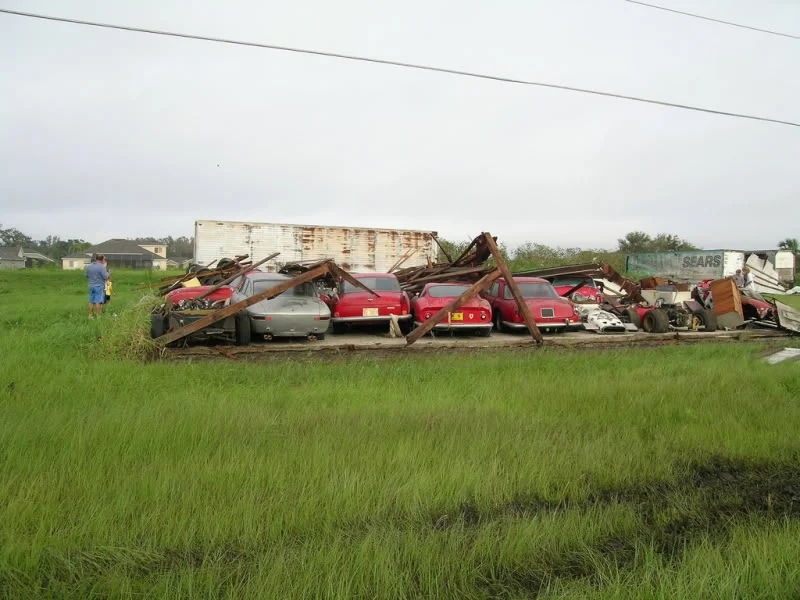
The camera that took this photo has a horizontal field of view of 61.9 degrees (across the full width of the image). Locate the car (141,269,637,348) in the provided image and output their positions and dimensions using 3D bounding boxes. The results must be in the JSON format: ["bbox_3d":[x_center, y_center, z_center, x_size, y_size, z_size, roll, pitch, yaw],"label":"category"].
[{"bbox_3d":[-0.950,0.042,14.492,8.326,1.635,1.711,0,4,-18],"label":"car"}]
